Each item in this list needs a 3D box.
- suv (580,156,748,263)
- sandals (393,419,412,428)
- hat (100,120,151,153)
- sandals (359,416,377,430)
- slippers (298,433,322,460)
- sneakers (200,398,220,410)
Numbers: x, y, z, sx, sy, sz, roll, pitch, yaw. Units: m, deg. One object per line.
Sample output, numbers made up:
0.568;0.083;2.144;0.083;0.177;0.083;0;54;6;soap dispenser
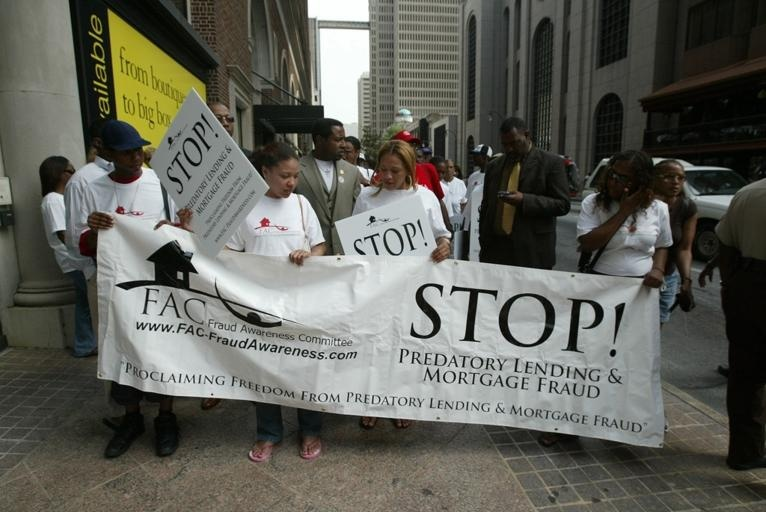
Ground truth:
6.273;-1.097;15.019;2.540;2.009;4.249;0;2;-23;suv
0.214;1.804;7.379;0.194;0.103;0.066;-1;-4;-5;sandals
-2.615;-1.207;6.959;0.403;0.178;0.280;15;33;13;hat
-0.157;1.789;7.359;0.113;0.197;0.068;2;45;1;sandals
-0.738;1.939;6.986;0.233;0.138;0.391;-1;-4;-6;slippers
-1.914;1.638;7.609;0.097;0.096;0.237;2;-8;13;sneakers
